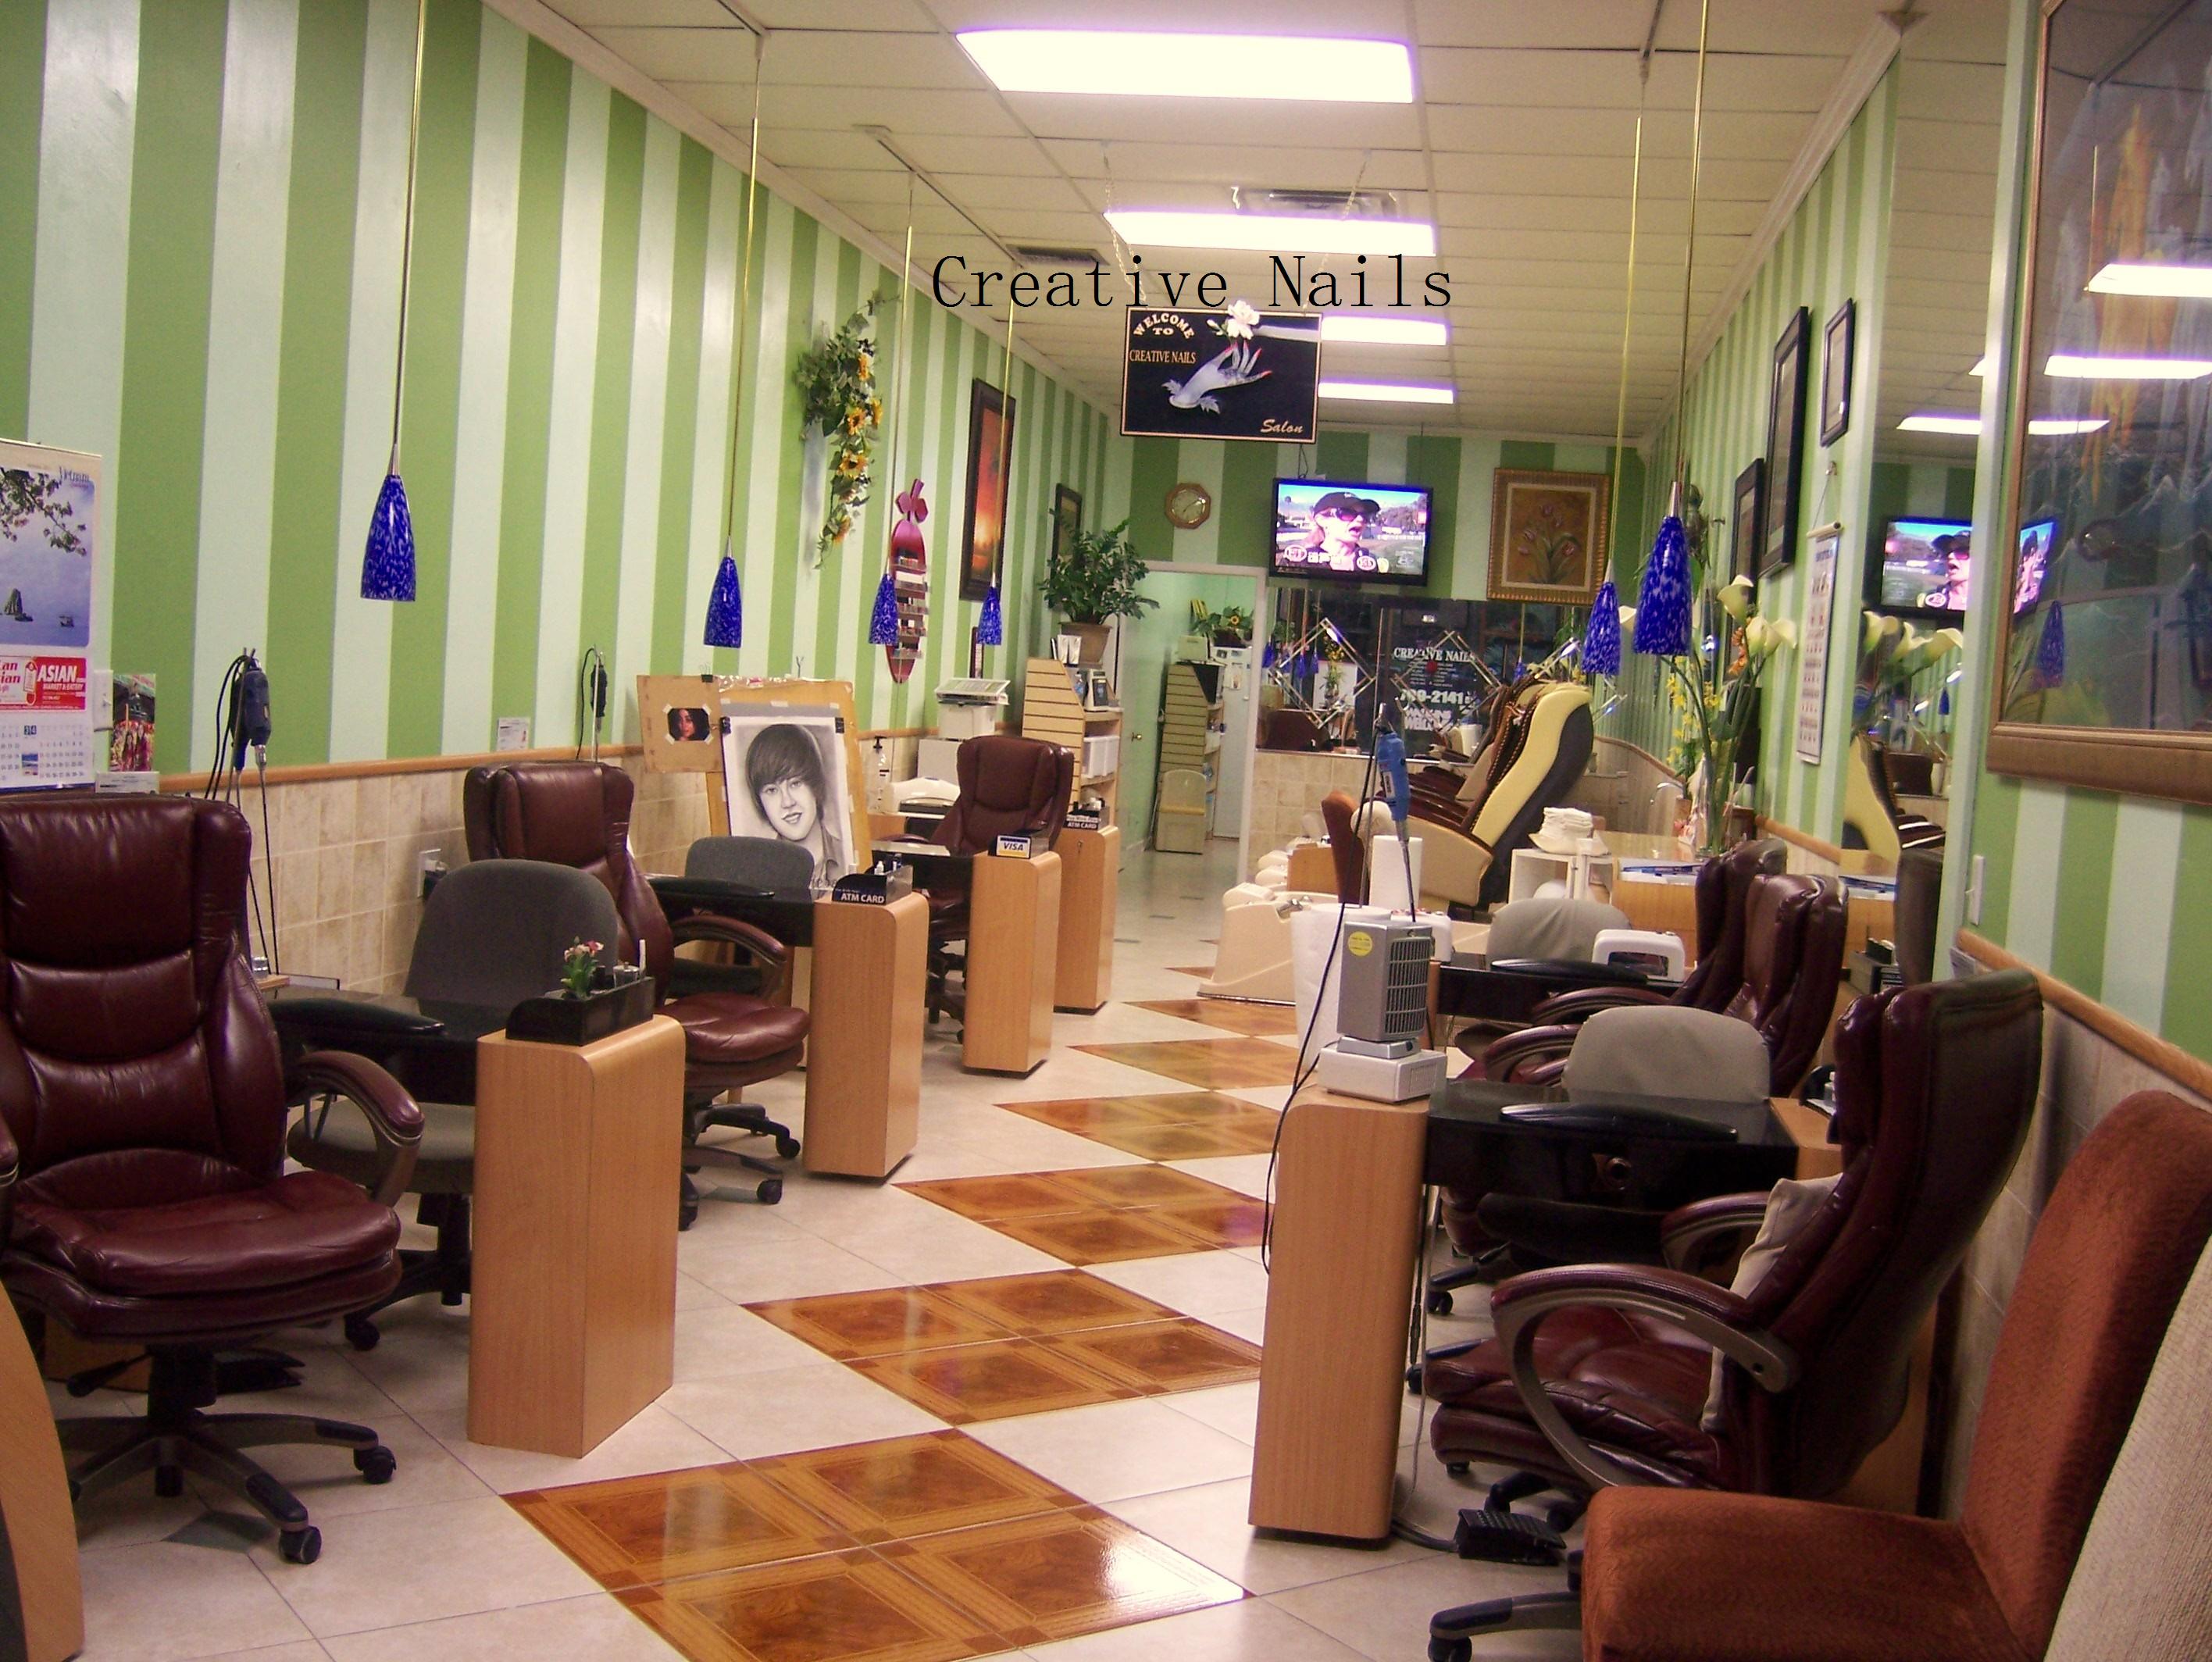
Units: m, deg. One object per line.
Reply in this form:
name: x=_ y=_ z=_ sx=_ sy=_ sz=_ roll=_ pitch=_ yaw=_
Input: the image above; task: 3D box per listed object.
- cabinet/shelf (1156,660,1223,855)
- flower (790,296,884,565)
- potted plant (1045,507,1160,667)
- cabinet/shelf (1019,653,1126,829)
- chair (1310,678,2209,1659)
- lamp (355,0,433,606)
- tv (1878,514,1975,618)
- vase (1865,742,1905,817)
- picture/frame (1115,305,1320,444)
cabinet/shelf: x=0.754 y=-0.728 z=16.122 sx=0.569 sy=1.806 sz=0.603 roll=3 pitch=7 yaw=2
flower: x=-1.410 y=-2.100 z=8.936 sx=0.366 sy=1.329 sz=0.596 roll=3 pitch=7 yaw=4
potted plant: x=-0.125 y=-1.946 z=13.831 sx=1.152 sy=1.745 sz=1.248 roll=-1 pitch=3 yaw=-3
cabinet/shelf: x=-0.204 y=-0.620 z=11.523 sx=0.298 sy=0.771 sz=1.103 roll=5 pitch=-6 yaw=15
chair: x=1.348 y=0.725 z=3.457 sx=1.486 sy=1.898 sz=1.503 roll=3 pitch=2 yaw=37
lamp: x=-2.302 y=-1.762 z=5.435 sx=0.209 sy=2.041 sz=0.833 roll=0 pitch=8 yaw=-22
tv: x=2.861 y=-0.901 z=5.910 sx=0.366 sy=0.364 sz=0.211 roll=4 pitch=-2 yaw=10
vase: x=2.716 y=-0.172 z=5.852 sx=0.060 sy=0.206 sz=0.078 roll=-10 pitch=7 yaw=0
picture/frame: x=0.573 y=-2.284 z=8.376 sx=1.005 sy=0.731 sz=0.141 roll=1 pitch=1 yaw=4
